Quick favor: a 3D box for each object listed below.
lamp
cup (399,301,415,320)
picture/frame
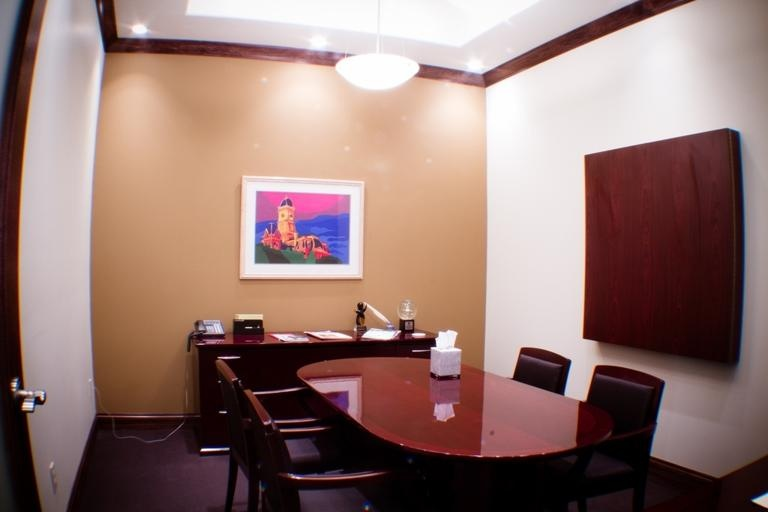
[{"bbox_3d":[-0.098,-2.015,4.675,0.662,1.049,1.279,-1,2,-5],"label":"lamp"},{"bbox_3d":[0.269,0.610,5.737,0.212,0.213,0.229,0,3,0],"label":"cup"},{"bbox_3d":[-0.950,-0.326,5.526,1.214,0.958,0.084,1,-2,-20],"label":"picture/frame"}]
